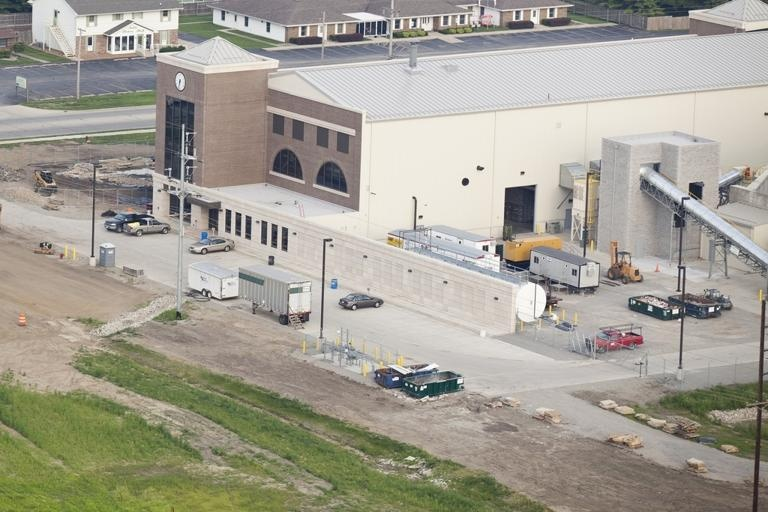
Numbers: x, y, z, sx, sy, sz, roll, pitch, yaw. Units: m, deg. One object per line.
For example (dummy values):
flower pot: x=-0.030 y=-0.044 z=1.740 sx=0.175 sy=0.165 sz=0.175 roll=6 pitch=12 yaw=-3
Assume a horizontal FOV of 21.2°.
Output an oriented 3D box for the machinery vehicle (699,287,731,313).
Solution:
machinery vehicle: x=32.767 y=4.399 z=205.223 sx=1.843 sy=1.262 sz=2.966 roll=-5 pitch=18 yaw=-28

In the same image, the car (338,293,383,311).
car: x=-2.337 y=4.608 z=202.143 sx=3.979 sy=1.033 sz=1.639 roll=-7 pitch=20 yaw=-24

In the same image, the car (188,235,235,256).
car: x=-17.906 y=-1.066 z=214.700 sx=4.172 sy=1.125 sz=1.823 roll=-4 pitch=14 yaw=-31

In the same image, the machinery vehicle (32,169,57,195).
machinery vehicle: x=-38.043 y=-8.567 z=231.321 sx=1.667 sy=1.937 sz=4.528 roll=-6 pitch=17 yaw=-43

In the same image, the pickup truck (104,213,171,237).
pickup truck: x=-26.406 y=-3.066 z=218.892 sx=5.056 sy=1.343 sz=2.973 roll=-5 pitch=14 yaw=-25

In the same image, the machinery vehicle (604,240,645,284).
machinery vehicle: x=25.033 y=0.806 z=212.843 sx=3.418 sy=4.430 sz=5.093 roll=-12 pitch=18 yaw=-40

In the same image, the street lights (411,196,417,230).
street lights: x=3.100 y=-4.623 z=216.247 sx=0.653 sy=3.380 sz=0.301 roll=3 pitch=7 yaw=0

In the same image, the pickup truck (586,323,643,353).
pickup truck: x=21.429 y=8.034 z=195.498 sx=5.056 sy=1.742 sz=2.706 roll=-5 pitch=8 yaw=-24
